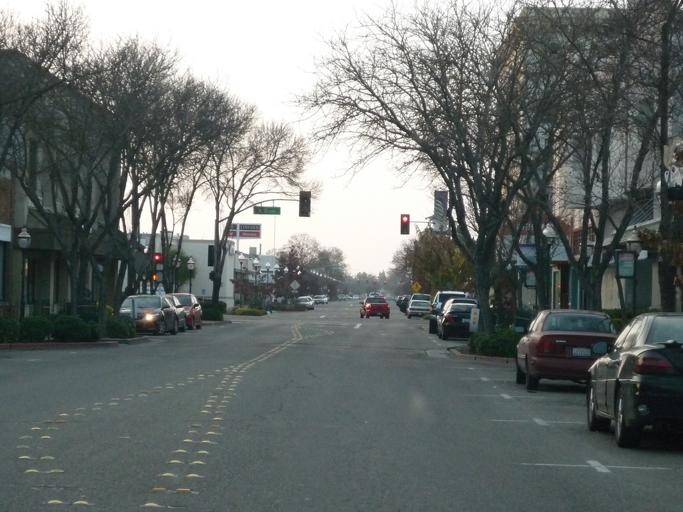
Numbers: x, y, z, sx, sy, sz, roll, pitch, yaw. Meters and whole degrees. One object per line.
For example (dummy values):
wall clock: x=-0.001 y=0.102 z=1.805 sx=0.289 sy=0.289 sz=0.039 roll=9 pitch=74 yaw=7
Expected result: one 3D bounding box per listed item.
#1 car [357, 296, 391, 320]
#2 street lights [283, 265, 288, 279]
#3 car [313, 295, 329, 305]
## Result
car: x=2.761 y=4.086 z=72.745 sx=2.254 sy=2.049 sz=4.662 roll=1 pitch=-6 yaw=0
street lights: x=-7.440 y=1.907 z=116.792 sx=0.794 sy=1.117 sz=0.876 roll=3 pitch=2 yaw=10
car: x=-3.766 y=7.544 z=155.637 sx=1.294 sy=1.150 sz=3.199 roll=0 pitch=4 yaw=7
